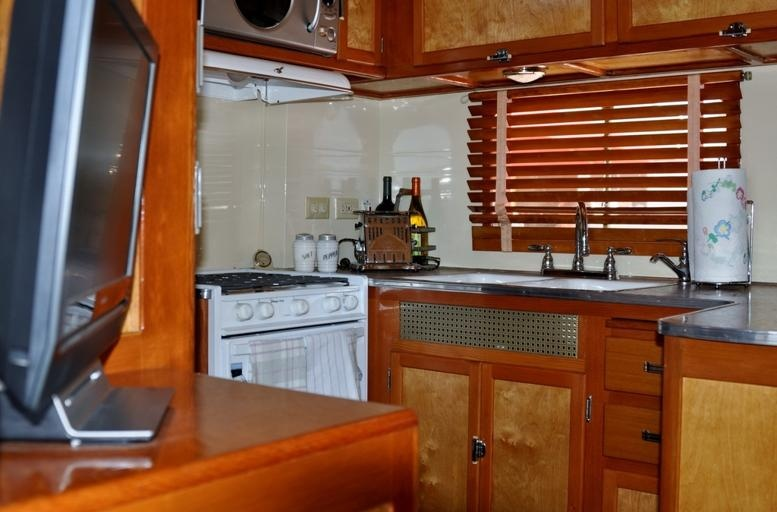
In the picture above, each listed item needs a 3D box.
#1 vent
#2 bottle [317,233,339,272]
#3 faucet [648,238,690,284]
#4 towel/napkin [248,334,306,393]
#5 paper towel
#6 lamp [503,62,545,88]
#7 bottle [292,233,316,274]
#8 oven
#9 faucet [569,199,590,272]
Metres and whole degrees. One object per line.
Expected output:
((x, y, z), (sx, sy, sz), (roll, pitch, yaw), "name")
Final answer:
((-0.572, -0.777, 2.575), (0.715, 0.127, 0.491), (-4, 6, -37), "vent")
((-0.293, -0.009, 2.764), (0.128, 0.184, 0.120), (0, 1, 0), "bottle")
((1.155, 0.025, 2.350), (0.182, 0.157, 0.090), (1, -2, -7), "faucet")
((-0.425, 0.428, 2.204), (0.242, 0.202, 0.021), (-2, 2, -11), "towel/napkin")
((1.232, -0.103, 2.129), (0.212, 0.442, 0.298), (2, 5, 30), "paper towel")
((0.605, -0.806, 2.555), (0.105, 0.035, 0.102), (-1, 3, -38), "lamp")
((-0.407, -0.015, 2.770), (0.107, 0.174, 0.147), (-1, 5, -8), "bottle")
((-0.382, 0.394, 2.413), (0.615, 0.403, 0.348), (-5, 16, -17), "oven")
((0.901, -0.091, 2.663), (0.073, 0.319, 0.202), (1, 5, 20), "faucet")
